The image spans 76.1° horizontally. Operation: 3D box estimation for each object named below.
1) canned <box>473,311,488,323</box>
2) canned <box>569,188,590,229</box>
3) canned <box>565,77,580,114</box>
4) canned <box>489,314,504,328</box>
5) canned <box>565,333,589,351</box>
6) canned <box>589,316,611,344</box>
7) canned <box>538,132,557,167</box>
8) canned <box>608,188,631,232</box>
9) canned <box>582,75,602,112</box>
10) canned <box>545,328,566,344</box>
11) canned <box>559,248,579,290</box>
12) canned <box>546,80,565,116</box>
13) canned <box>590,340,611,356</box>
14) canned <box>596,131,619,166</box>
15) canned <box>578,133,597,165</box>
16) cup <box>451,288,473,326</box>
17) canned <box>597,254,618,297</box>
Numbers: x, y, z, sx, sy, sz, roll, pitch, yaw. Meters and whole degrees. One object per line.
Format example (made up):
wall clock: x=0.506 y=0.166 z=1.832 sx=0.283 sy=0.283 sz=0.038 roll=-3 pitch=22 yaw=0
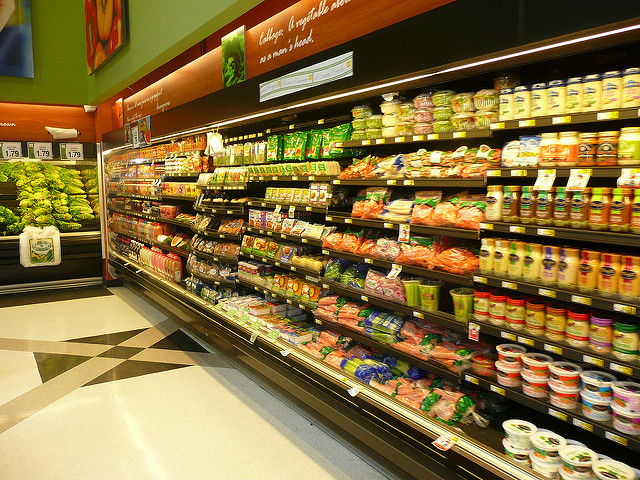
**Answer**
canned: x=0.994 y=0.474 z=2.542 sx=0.076 sy=0.050 sz=0.062 roll=2 pitch=2 yaw=14
canned: x=1.338 y=-0.164 z=2.116 sx=0.090 sy=0.201 sz=0.036 roll=7 pitch=13 yaw=22
canned: x=1.343 y=-0.759 z=2.175 sx=0.059 sy=0.179 sz=0.073 roll=1 pitch=12 yaw=-9
canned: x=1.063 y=0.480 z=2.471 sx=0.084 sy=0.055 sz=0.070 roll=0 pitch=1 yaw=-20
canned: x=1.347 y=0.525 z=2.158 sx=0.099 sy=0.059 sz=0.069 roll=7 pitch=11 yaw=30
canned: x=1.405 y=0.463 z=2.137 sx=0.165 sy=0.121 sz=0.141 roll=0 pitch=0 yaw=25
canned: x=1.239 y=-0.489 z=2.227 sx=0.096 sy=0.178 sz=0.052 roll=8 pitch=13 yaw=25
canned: x=1.461 y=-0.149 z=1.993 sx=0.091 sy=0.212 sz=0.051 roll=7 pitch=13 yaw=21
canned: x=1.398 y=-0.753 z=2.117 sx=0.102 sy=0.182 sz=0.055 roll=8 pitch=13 yaw=25
canned: x=1.280 y=0.521 z=2.243 sx=0.088 sy=0.063 sz=0.058 roll=0 pitch=51 yaw=3
canned: x=1.319 y=0.143 z=2.178 sx=0.096 sy=0.200 sz=0.079 roll=8 pitch=13 yaw=25
canned: x=1.280 y=-0.763 z=2.217 sx=0.084 sy=0.186 sz=0.092 roll=3 pitch=12 yaw=2
canned: x=1.426 y=0.546 z=2.094 sx=0.085 sy=0.036 sz=0.067 roll=0 pitch=-1 yaw=-3
canned: x=1.446 y=-0.462 z=2.066 sx=0.089 sy=0.176 sz=0.105 roll=6 pitch=12 yaw=18
canned: x=1.383 y=-0.468 z=2.124 sx=0.097 sy=0.167 sz=0.051 roll=12 pitch=15 yaw=39
cup: x=0.933 y=0.417 z=2.692 sx=0.135 sy=0.183 sz=0.212 roll=2 pitch=10 yaw=0
canned: x=1.446 y=0.166 z=2.045 sx=0.083 sy=0.200 sz=0.093 roll=6 pitch=12 yaw=16
